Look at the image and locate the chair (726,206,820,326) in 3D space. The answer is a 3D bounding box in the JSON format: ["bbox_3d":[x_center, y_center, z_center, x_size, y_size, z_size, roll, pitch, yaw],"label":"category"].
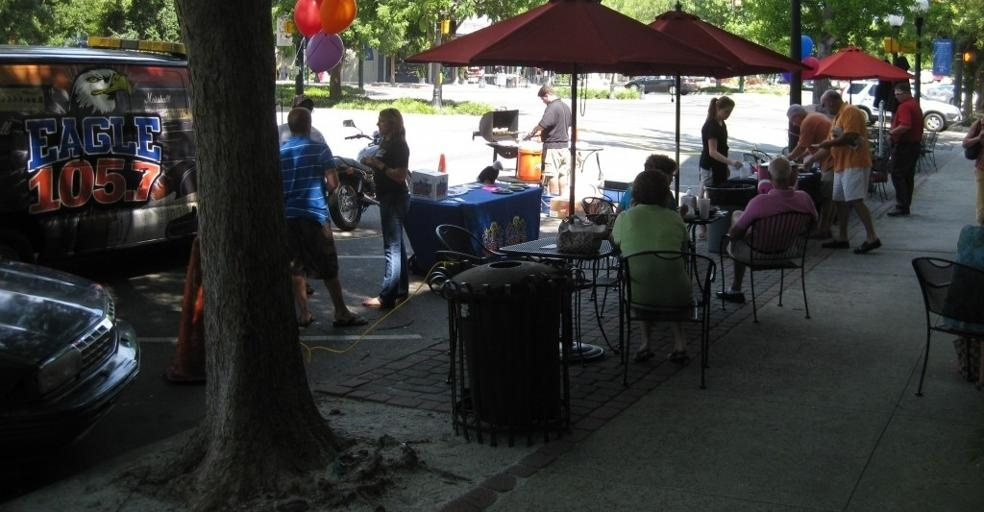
[{"bbox_3d":[4.356,0.078,12.035,1.079,1.622,1.196,1,2,0],"label":"chair"}]

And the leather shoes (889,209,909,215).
[{"bbox_3d":[9.308,-1.014,17.421,0.388,0.165,0.156,6,10,17],"label":"leather shoes"}]

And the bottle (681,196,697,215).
[{"bbox_3d":[3.202,-0.873,12.617,0.310,0.342,0.317,6,10,42],"label":"bottle"}]

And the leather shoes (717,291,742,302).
[{"bbox_3d":[3.831,0.623,12.326,0.410,0.171,0.153,8,7,27],"label":"leather shoes"}]

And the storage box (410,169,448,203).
[{"bbox_3d":[-1.119,-1.241,13.308,0.552,0.432,0.562,7,9,32],"label":"storage box"}]

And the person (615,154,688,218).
[{"bbox_3d":[2.438,-1.061,11.267,0.869,1.177,0.920,6,12,26],"label":"person"}]

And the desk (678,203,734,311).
[{"bbox_3d":[3.440,0.004,12.149,1.140,1.450,1.597,4,11,32],"label":"desk"}]

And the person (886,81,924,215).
[{"bbox_3d":[9.548,-2.509,17.617,0.630,2.922,1.516,5,15,28],"label":"person"}]

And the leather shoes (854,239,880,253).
[{"bbox_3d":[7.203,-0.210,14.641,0.562,0.226,0.236,-11,6,-18],"label":"leather shoes"}]

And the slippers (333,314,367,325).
[{"bbox_3d":[-2.153,0.983,11.617,0.404,0.126,0.198,-1,6,-10],"label":"slippers"}]

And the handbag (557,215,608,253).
[{"bbox_3d":[1.259,-0.319,10.461,0.640,0.448,0.453,2,9,12],"label":"handbag"}]
